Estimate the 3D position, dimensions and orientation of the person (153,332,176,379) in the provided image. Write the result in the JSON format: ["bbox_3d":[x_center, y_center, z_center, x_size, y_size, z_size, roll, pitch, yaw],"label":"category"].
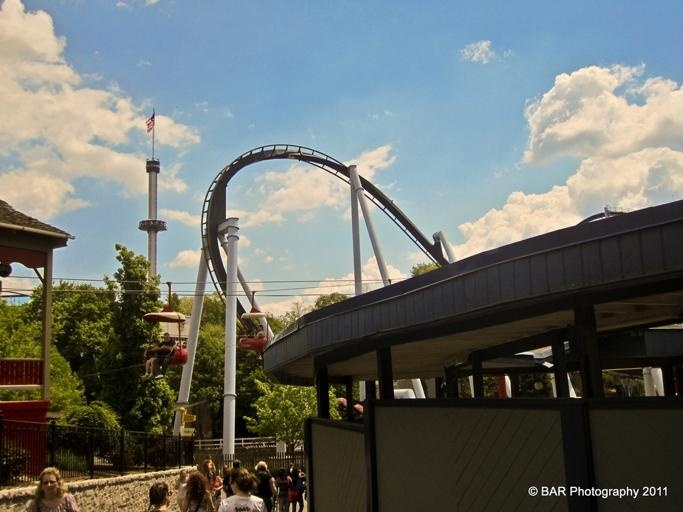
[{"bbox_3d":[-4.945,2.715,20.799,0.561,1.314,0.536,-11,-23,38],"label":"person"}]

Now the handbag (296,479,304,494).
[{"bbox_3d":[-0.892,4.941,16.121,0.159,0.354,0.444,-7,-9,-1],"label":"handbag"}]
